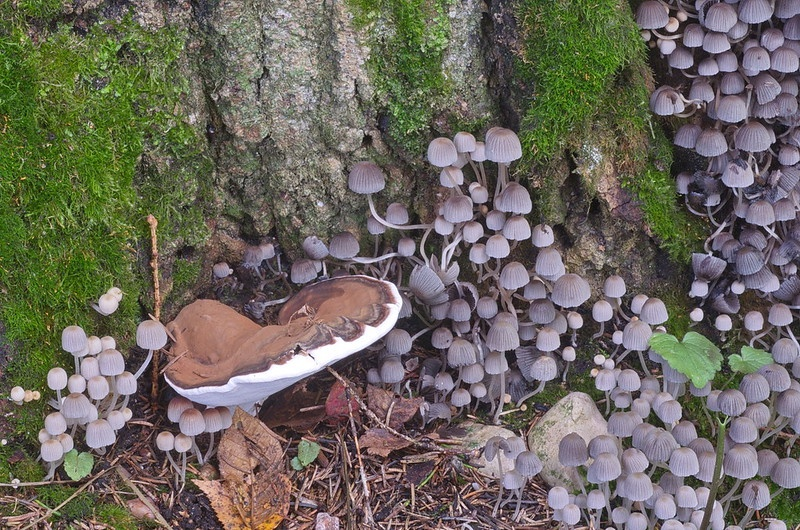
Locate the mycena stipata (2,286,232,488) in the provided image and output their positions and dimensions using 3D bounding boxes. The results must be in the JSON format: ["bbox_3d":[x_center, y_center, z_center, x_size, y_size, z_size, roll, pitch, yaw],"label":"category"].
[{"bbox_3d":[-2.278,1.085,7.684,1.638,2.360,1.136,1,1,23],"label":"mycena stipata"}]

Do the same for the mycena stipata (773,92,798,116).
[{"bbox_3d":[3.405,-1.425,8.058,0.185,0.185,0.196,-7,40,0],"label":"mycena stipata"}]

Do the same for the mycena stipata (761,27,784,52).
[{"bbox_3d":[3.254,-1.982,7.935,0.173,0.195,0.195,2,50,15],"label":"mycena stipata"}]

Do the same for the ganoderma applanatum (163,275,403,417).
[{"bbox_3d":[-0.924,0.571,7.646,1.329,0.555,1.376,-16,9,24],"label":"ganoderma applanatum"}]
